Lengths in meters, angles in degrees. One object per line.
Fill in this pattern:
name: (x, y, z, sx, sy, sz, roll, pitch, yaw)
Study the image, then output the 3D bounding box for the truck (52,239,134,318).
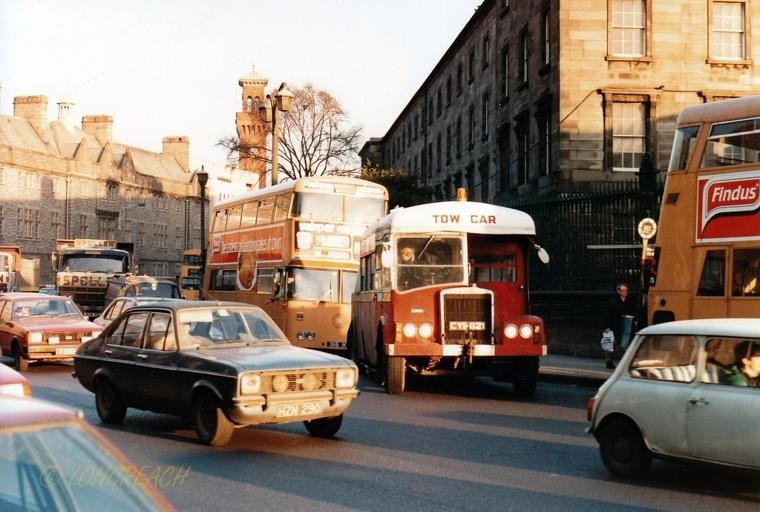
truck: (-13.255, 0.732, 37.951, 3.077, 3.547, 5.971, 1, -5, -12)

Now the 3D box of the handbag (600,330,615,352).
handbag: (6.177, 2.300, 21.983, 0.379, 0.660, 0.632, -1, -5, 8)

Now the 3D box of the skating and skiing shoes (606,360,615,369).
skating and skiing shoes: (6.158, 2.924, 21.970, 0.213, 0.267, 0.352, -1, -12, 0)

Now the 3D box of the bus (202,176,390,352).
bus: (-3.721, 0.622, 27.291, 3.002, 5.130, 9.535, 6, -6, -32)

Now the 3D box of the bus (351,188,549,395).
bus: (1.347, 0.927, 21.395, 3.923, 4.167, 8.108, 1, -3, -6)
